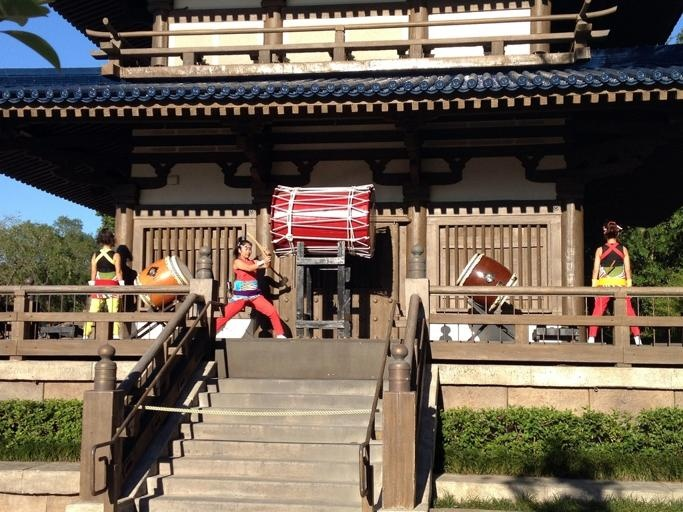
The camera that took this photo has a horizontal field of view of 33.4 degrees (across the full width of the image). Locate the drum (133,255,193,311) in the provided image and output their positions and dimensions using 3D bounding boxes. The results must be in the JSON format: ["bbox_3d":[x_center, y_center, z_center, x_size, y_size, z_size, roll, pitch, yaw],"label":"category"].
[{"bbox_3d":[-3.235,0.416,19.816,1.100,0.936,1.191,0,-7,0],"label":"drum"}]

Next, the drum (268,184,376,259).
[{"bbox_3d":[-0.220,-0.607,20.151,1.874,1.376,1.705,-4,3,0],"label":"drum"}]

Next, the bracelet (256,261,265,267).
[{"bbox_3d":[-1.379,0.120,19.596,0.106,0.111,0.208,1,-7,-7],"label":"bracelet"}]

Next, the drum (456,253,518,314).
[{"bbox_3d":[2.563,0.438,19.497,1.018,1.021,0.754,2,-7,-15],"label":"drum"}]

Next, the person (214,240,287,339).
[{"bbox_3d":[-1.567,0.555,19.604,1.151,1.655,0.676,0,-7,1],"label":"person"}]
